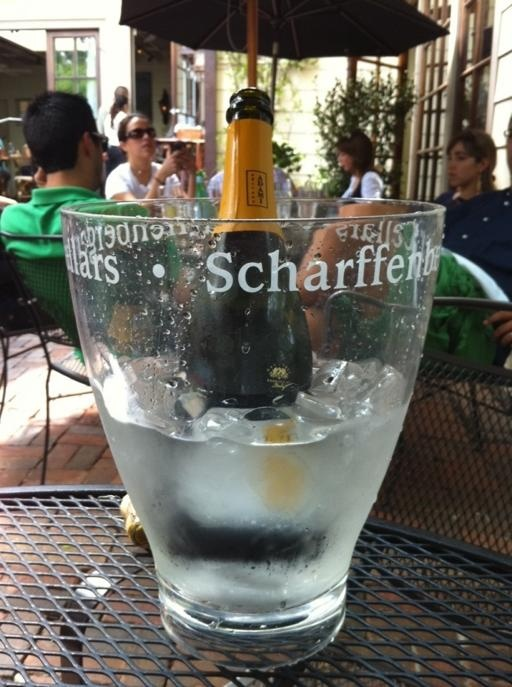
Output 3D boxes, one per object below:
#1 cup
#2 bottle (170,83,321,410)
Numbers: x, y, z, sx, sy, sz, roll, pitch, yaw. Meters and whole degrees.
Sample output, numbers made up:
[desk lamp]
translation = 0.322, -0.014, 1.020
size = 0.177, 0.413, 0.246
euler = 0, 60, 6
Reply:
[cup]
translation = 0.001, 0.036, 0.484
size = 0.283, 0.308, 0.290
euler = 0, 10, 0
[bottle]
translation = 0.000, -0.067, 0.398
size = 0.077, 0.208, 0.182
euler = 3, 9, 5
